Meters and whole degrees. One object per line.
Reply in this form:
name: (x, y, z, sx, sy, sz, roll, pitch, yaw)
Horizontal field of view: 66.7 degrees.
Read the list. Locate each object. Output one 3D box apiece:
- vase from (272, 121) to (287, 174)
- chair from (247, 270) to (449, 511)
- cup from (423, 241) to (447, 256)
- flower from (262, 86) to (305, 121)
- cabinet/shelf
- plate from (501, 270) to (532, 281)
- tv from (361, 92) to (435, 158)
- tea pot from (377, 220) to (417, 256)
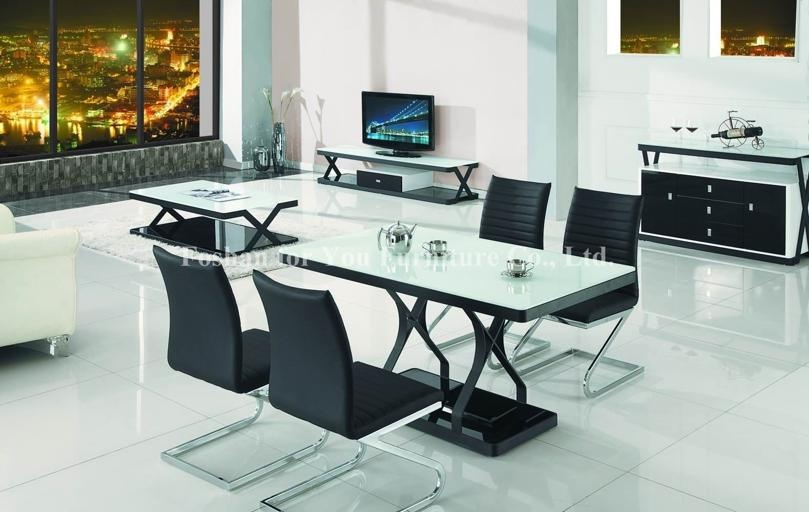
vase: (-2.307, -1.956, 11.191, 0.271, 0.898, 0.390, -3, 15, -11)
chair: (-0.312, 0.824, 3.547, 0.993, 1.486, 0.897, -14, 21, -40)
cup: (0.204, -0.054, 4.178, 0.157, 0.087, 0.092, -2, 14, -5)
flower: (-2.175, -2.850, 11.566, 0.675, 0.559, 0.716, 12, 20, 40)
cabinet/shelf: (3.571, -0.508, 6.907, 0.492, 0.869, 1.842, -14, 17, -27)
plate: (0.694, 0.117, 3.809, 0.197, 0.030, 0.134, 1, 14, 4)
tv: (-0.062, -2.087, 9.753, 1.066, 0.687, 0.285, 12, 22, 33)
tea pot: (-0.010, -0.128, 4.313, 0.315, 0.204, 0.196, -16, 24, -40)
